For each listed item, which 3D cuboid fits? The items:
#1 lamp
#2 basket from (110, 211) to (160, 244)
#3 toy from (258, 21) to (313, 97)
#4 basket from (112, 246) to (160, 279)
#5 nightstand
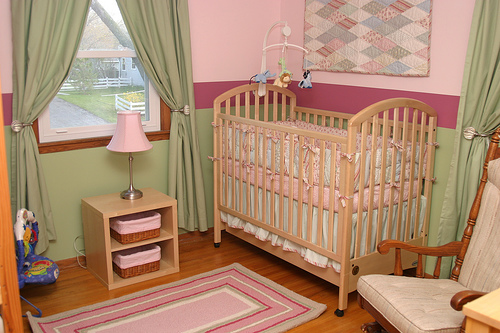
[{"bbox_3d":[-1.067,-0.103,3.312,0.346,0.785,0.446,-9,18,-21],"label":"lamp"},{"bbox_3d":[-0.987,0.532,3.232,0.348,0.175,0.253,-7,13,-31],"label":"basket"},{"bbox_3d":[0.281,-1.039,3.594,0.449,0.624,0.355,19,31,41],"label":"toy"},{"bbox_3d":[-0.991,0.779,3.258,0.343,0.172,0.251,-8,15,-32],"label":"basket"},{"bbox_3d":[-1.088,0.639,3.404,0.573,0.664,0.739,10,11,39],"label":"nightstand"}]
